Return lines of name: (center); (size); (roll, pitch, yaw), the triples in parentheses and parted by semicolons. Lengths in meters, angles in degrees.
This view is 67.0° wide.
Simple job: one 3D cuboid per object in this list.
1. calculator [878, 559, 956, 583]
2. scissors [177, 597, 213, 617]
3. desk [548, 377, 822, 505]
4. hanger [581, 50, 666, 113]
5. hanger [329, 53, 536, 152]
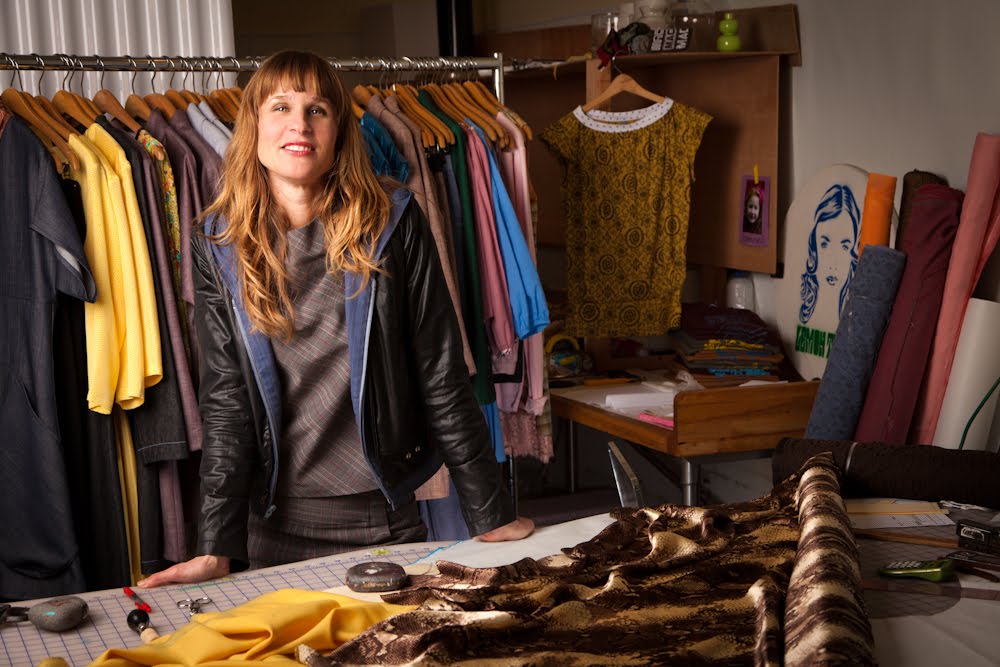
calculator: (0.833, 0.471, 1.515); (0.081, 0.018, 0.061); (1, 3, 24)
scissors: (-0.634, 0.562, 1.574); (0.081, 0.013, 0.064); (2, 9, 44)
desk: (0.858, 0.546, 3.414); (0.688, 0.414, 0.962); (-1, -3, -6)
hanger: (0.571, -1.122, 3.491); (0.432, 0.202, 0.028); (9, 32, 34)
hanger: (-0.276, -0.970, 3.076); (0.873, 0.474, 0.484); (-5, 14, -19)
